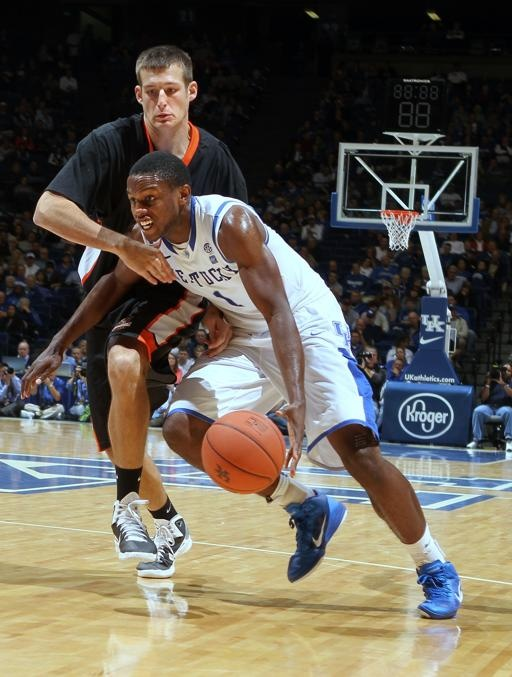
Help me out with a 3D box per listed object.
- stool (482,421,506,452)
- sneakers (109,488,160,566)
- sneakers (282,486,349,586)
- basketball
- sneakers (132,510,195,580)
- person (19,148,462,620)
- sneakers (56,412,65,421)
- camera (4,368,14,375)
[{"bbox_3d":[3.840,1.588,10.174,0.530,0.425,0.445,0,-14,5],"label":"stool"},{"bbox_3d":[-0.458,0.651,2.161,0.116,0.159,0.302,-16,0,-17],"label":"sneakers"},{"bbox_3d":[0.153,0.748,2.394,0.383,0.216,0.134,-50,10,-35],"label":"sneakers"},{"bbox_3d":[-0.051,0.338,1.910,0.259,0.229,0.257,-4,-2,-25],"label":"basketball"},{"bbox_3d":[-0.337,0.801,2.389,0.113,0.138,0.307,-7,0,12],"label":"sneakers"},{"bbox_3d":[0.113,0.109,2.112,1.069,1.424,0.793,3,5,35],"label":"person"},{"bbox_3d":[-3.737,1.509,12.034,0.161,0.119,0.175,19,-37,-30],"label":"sneakers"},{"bbox_3d":[-4.632,0.631,11.774,0.161,0.128,0.141,0,-8,-14],"label":"camera"}]
